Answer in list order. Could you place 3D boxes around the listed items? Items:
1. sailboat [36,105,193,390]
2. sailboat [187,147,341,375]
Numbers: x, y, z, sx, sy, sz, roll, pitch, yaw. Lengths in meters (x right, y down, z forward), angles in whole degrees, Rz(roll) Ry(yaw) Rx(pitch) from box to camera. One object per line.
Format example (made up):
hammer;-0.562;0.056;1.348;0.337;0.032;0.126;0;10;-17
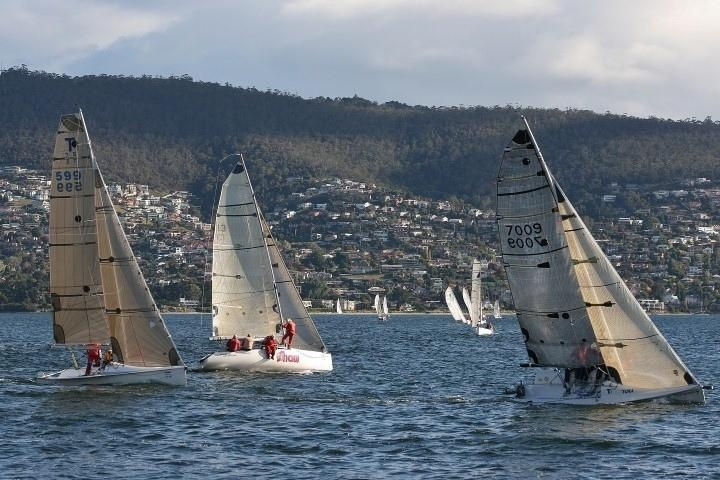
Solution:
sailboat;-27.779;1.062;157.494;12.987;29.488;2.477;4;7;7
sailboat;-10.070;2.639;163.221;14.783;23.943;5.141;3;7;0
